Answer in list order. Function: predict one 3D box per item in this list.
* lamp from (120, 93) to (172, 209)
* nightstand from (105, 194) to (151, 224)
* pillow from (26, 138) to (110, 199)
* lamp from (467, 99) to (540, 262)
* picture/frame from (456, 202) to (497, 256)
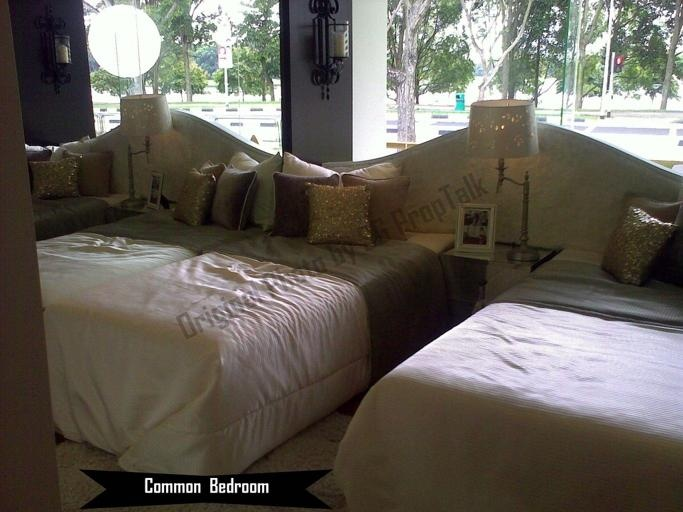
[{"bbox_3d":[-1.693,-0.920,4.362,0.433,0.926,0.723,-5,18,-21],"label":"lamp"},{"bbox_3d":[-1.837,-0.424,4.347,0.320,0.218,0.327,10,15,30],"label":"nightstand"},{"bbox_3d":[-2.439,-0.776,4.551,0.672,0.431,0.630,-8,19,-30],"label":"pillow"},{"bbox_3d":[0.988,-0.431,3.029,0.382,0.919,0.381,-6,16,7],"label":"lamp"},{"bbox_3d":[0.821,-0.158,3.071,0.284,0.407,0.042,4,-8,14],"label":"picture/frame"}]
